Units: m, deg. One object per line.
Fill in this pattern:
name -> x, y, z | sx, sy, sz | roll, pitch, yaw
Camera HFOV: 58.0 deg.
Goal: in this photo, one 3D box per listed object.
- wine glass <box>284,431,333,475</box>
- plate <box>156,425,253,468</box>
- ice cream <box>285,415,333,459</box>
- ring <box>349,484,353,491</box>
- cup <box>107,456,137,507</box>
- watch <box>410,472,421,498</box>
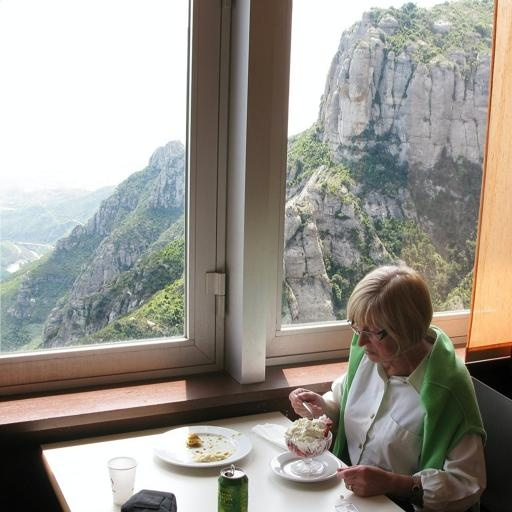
wine glass -> 0.142, 0.477, 1.151 | 0.098, 0.090, 0.098 | 1, -5, -3
plate -> -0.139, 0.520, 1.243 | 0.128, 0.017, 0.132 | -2, 8, -24
ice cream -> 0.137, 0.469, 1.184 | 0.122, 0.092, 0.148 | -5, 1, -6
ring -> 0.219, 0.540, 1.068 | 0.009, 0.005, 0.012 | 1, -1, -15
cup -> -0.284, 0.477, 0.983 | 0.079, 0.105, 0.079 | 1, -3, 0
watch -> 0.380, 0.550, 1.098 | 0.022, 0.039, 0.039 | -3, 4, 9
